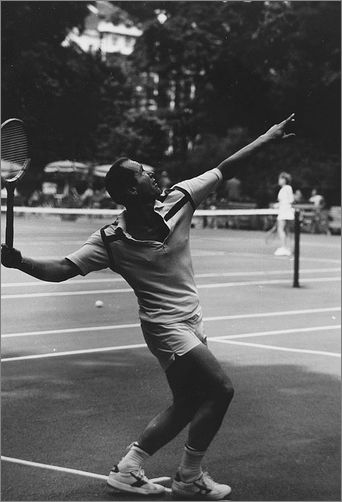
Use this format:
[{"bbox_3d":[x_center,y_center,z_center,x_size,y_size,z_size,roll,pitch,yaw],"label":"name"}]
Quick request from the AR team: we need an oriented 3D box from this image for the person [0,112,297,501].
[{"bbox_3d":[-0.064,0.245,3.363,1.030,1.695,0.637,12,3,9],"label":"person"}]

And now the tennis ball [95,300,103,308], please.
[{"bbox_3d":[-0.768,0.582,7.731,0.072,0.039,0.072,-8,-16,-2],"label":"tennis ball"}]

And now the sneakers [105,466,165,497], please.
[{"bbox_3d":[-0.175,1.091,3.408,0.318,0.143,0.111,12,-5,-10],"label":"sneakers"}]
